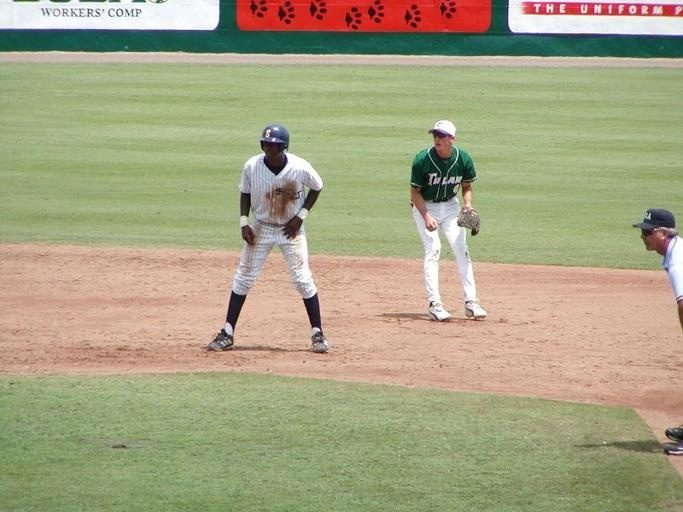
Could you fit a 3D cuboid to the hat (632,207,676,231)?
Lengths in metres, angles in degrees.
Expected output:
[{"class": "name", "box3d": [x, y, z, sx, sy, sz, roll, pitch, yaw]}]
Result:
[{"class": "hat", "box3d": [3.050, -0.340, 11.943, 0.381, 0.131, 0.230, 2, 3, 9]}]

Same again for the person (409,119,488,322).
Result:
[{"class": "person", "box3d": [1.324, -0.456, 15.241, 0.881, 2.456, 1.203, -1, 13, 5]}]

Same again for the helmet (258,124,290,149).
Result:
[{"class": "helmet", "box3d": [-0.751, -1.319, 13.596, 0.321, 0.189, 0.303, 4, 9, 14]}]

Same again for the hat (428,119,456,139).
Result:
[{"class": "hat", "box3d": [1.226, -1.517, 14.748, 0.247, 0.191, 0.246, 1, 11, 13]}]

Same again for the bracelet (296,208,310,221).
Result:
[{"class": "bracelet", "box3d": [-0.457, -0.464, 13.865, 0.163, 0.119, 0.147, 9, 17, 35]}]

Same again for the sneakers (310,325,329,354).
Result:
[{"class": "sneakers", "box3d": [-0.251, 0.985, 13.867, 0.174, 0.131, 0.352, -1, 9, -6]}]

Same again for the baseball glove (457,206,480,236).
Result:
[{"class": "baseball glove", "box3d": [1.587, -0.420, 15.070, 0.283, 0.337, 0.326, 4, 32, 21]}]
